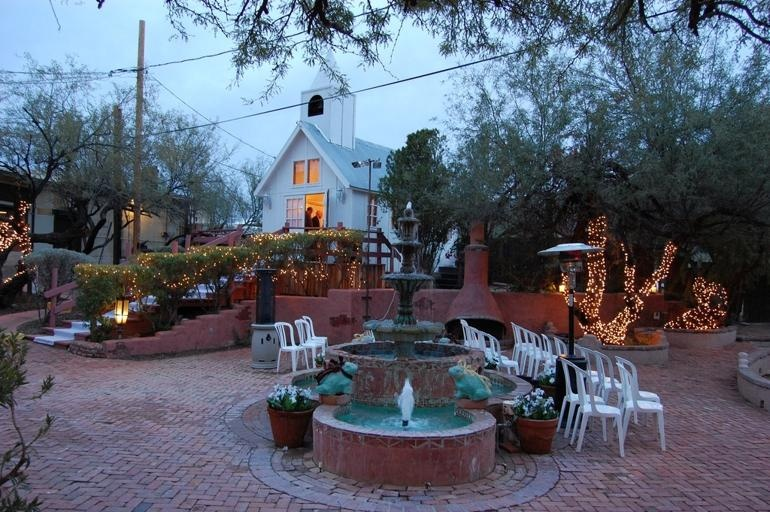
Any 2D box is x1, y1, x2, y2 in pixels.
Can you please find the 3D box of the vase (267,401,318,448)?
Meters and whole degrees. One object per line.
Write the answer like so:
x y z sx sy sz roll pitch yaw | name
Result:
-1.676 2.964 9.449 0.794 0.650 0.784 7 -2 -37 | vase

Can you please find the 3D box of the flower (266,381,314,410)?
-1.664 2.490 9.550 0.656 0.478 0.822 -1 -2 -2 | flower

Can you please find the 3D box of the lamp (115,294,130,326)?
-7.585 1.574 15.447 0.388 0.839 0.238 5 6 38 | lamp

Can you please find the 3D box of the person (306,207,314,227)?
-3.354 -1.738 23.826 0.330 0.800 0.763 0 5 -21 | person
